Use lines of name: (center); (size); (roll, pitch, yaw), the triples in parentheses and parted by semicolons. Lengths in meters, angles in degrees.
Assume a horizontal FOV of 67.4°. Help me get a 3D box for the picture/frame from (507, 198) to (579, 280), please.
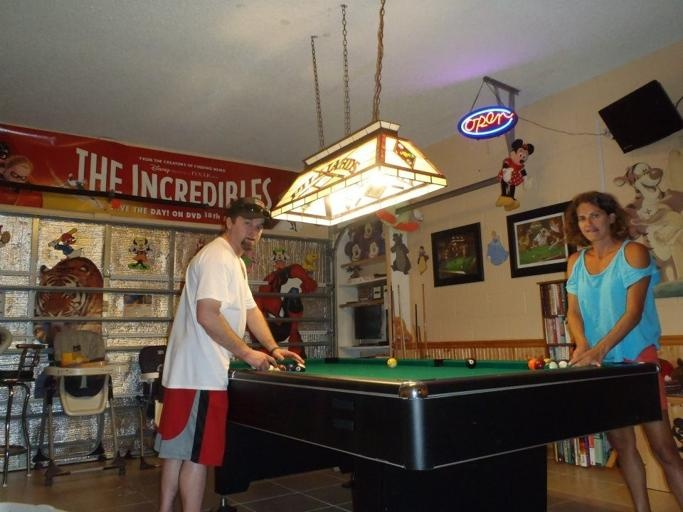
picture/frame: (2.162, -0.182, 5.435); (0.060, 0.758, 0.850); (7, -11, -35)

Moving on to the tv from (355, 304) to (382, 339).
tv: (0.430, 0.999, 7.865); (0.290, 0.583, 0.539); (3, -5, -26)

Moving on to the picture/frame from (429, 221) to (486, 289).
picture/frame: (1.532, -0.016, 6.619); (0.052, 0.800, 0.776); (7, -13, -36)

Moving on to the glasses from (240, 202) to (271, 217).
glasses: (-0.599, -0.323, 3.553); (0.128, 0.072, 0.123); (1, -4, 40)

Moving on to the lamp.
lamp: (0.190, -1.509, 5.084); (0.591, 1.827, 1.511); (15, -21, -32)

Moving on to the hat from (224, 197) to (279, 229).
hat: (-0.675, -0.316, 3.658); (0.391, 0.208, 0.308); (-10, -14, 33)

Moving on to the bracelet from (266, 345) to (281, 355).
bracelet: (-0.515, 0.691, 3.827); (0.082, 0.025, 0.082); (-34, -8, 10)

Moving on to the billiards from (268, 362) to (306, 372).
billiards: (-0.342, 0.741, 3.392); (0.133, 0.045, 0.097); (-2, -5, 15)
